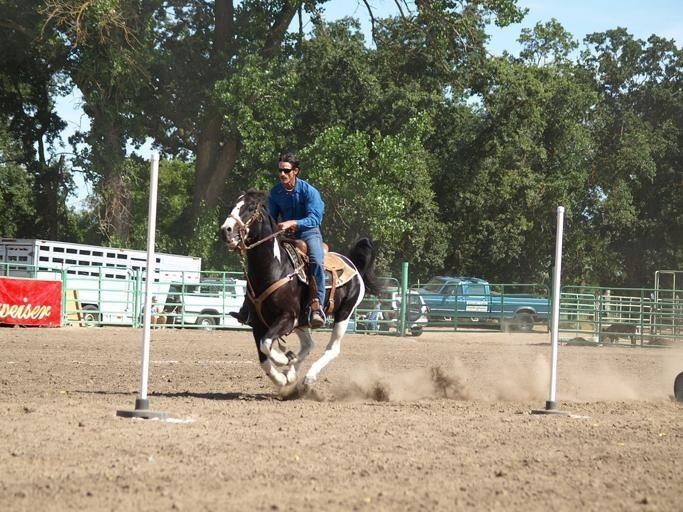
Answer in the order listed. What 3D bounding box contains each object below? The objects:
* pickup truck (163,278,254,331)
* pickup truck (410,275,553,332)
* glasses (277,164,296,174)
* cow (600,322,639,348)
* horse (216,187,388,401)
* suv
[{"bbox_3d":[-5.078,1.868,42.474,3.561,1.735,1.921,-1,-1,-20],"label":"pickup truck"},{"bbox_3d":[5.708,2.005,44.725,4.957,2.014,2.537,3,-4,7],"label":"pickup truck"},{"bbox_3d":[-1.445,-2.286,28.995,0.402,0.206,0.193,3,-4,6],"label":"glasses"},{"bbox_3d":[10.495,2.961,41.516,1.425,0.833,1.456,2,-5,19],"label":"cow"},{"bbox_3d":[-0.970,1.248,30.247,1.762,5.047,7.112,0,-8,35],"label":"horse"},{"bbox_3d":[1.991,2.227,43.091,2.792,1.704,1.732,2,-3,1],"label":"suv"}]
